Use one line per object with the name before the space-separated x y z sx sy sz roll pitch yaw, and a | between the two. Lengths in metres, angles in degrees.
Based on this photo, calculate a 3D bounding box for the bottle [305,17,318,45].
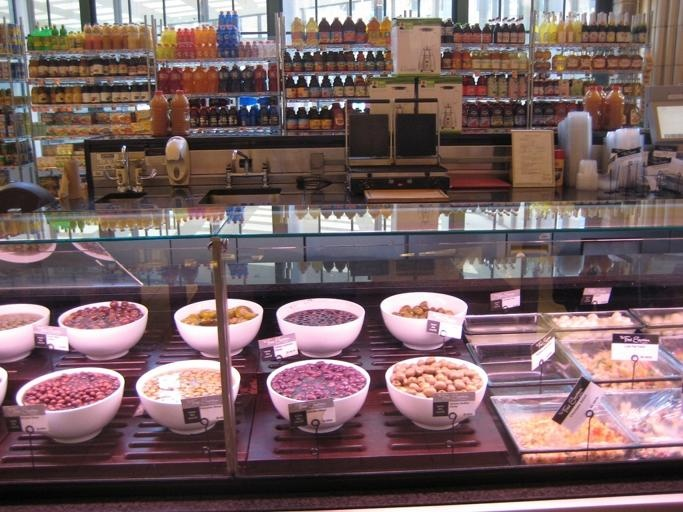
bottle | -0.307 -2.344 5.883 0.127 0.276 0.180 -3 20 -1

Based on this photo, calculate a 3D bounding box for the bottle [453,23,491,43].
bottle | 1.346 -2.320 5.869 0.415 0.152 0.057 0 3 -1

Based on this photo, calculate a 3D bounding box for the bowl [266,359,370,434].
bowl | -0.066 0.409 1.676 0.288 0.114 0.288 -1 17 0

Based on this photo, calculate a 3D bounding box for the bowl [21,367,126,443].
bowl | -0.765 0.433 1.666 0.331 0.126 0.331 4 -2 0

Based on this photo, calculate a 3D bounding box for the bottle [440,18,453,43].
bottle | 1.095 -2.343 5.863 0.123 0.243 0.179 1 20 10

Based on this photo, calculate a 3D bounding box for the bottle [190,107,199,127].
bottle | -1.554 -1.494 6.060 0.099 0.207 0.171 -6 20 -9

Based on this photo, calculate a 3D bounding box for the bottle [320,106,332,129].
bottle | -0.155 -1.418 5.779 0.132 0.222 0.170 -3 19 -1

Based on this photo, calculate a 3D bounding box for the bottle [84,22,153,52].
bottle | -2.395 -2.360 6.085 0.517 0.138 0.441 -3 13 -14

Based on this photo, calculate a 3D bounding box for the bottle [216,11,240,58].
bottle | -1.223 -2.419 6.134 0.247 0.500 0.403 -5 20 -8

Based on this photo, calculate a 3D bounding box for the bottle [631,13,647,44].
bottle | 3.130 -2.414 5.977 0.162 0.303 0.243 6 21 22

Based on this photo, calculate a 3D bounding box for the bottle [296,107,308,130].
bottle | -0.399 -1.428 5.834 0.125 0.217 0.214 -3 19 -3

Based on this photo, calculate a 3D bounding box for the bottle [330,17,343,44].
bottle | -0.047 -2.349 5.867 0.125 0.252 0.125 -2 20 1

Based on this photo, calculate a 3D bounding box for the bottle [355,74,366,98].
bottle | 0.198 -1.778 5.896 0.132 0.211 0.139 -2 20 1

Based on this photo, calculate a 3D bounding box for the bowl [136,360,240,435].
bowl | -0.439 0.390 1.623 0.263 0.088 0.245 0 11 0

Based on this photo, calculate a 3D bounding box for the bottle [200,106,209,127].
bottle | -1.458 -1.493 6.046 0.099 0.201 0.099 -2 20 1

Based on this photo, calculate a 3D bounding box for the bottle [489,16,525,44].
bottle | 1.755 -2.365 5.920 0.385 0.214 0.336 7 25 22

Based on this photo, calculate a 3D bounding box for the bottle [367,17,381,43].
bottle | 0.332 -2.362 5.895 0.129 0.259 0.147 -1 20 3

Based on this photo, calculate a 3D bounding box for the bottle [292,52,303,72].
bottle | -0.461 -2.060 5.950 0.112 0.211 0.210 -3 19 -3

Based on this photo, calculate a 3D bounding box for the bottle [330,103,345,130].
bottle | -0.041 -1.423 5.732 0.121 0.256 0.159 -4 20 -3

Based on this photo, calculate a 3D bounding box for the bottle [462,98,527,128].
bottle | 1.576 -1.480 5.901 0.825 0.268 0.347 -13 21 -33

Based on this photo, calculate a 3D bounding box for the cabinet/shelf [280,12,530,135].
cabinet/shelf | 0.607 -1.715 5.342 2.384 0.749 0.307 -1 6 -2

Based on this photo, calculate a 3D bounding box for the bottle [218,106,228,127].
bottle | -1.262 -1.496 6.055 0.114 0.200 0.143 -6 20 -9

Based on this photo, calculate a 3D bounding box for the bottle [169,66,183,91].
bottle | -1.761 -1.919 6.106 0.140 0.254 0.218 -3 19 -1

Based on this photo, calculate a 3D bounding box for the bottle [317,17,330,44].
bottle | -0.175 -2.339 5.846 0.135 0.247 0.089 -2 21 0

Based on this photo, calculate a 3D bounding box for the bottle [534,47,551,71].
bottle | 2.120 -2.099 6.005 0.174 0.237 0.249 3 19 15

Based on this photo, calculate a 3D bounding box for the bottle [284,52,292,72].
bottle | -0.550 -2.043 5.922 0.092 0.220 0.177 -2 19 1

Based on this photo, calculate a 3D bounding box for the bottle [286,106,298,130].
bottle | -0.509 -1.422 5.811 0.110 0.218 0.141 -4 20 -3

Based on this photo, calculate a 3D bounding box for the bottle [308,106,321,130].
bottle | -0.277 -1.422 5.798 0.134 0.224 0.172 -3 19 -2

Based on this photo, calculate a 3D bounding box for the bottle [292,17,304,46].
bottle | -0.449 -2.349 5.905 0.147 0.298 0.223 -3 20 -2

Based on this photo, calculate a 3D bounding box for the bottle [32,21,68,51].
bottle | -3.230 -2.441 6.310 0.475 0.277 0.238 6 21 22

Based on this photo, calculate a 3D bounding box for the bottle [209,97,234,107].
bottle | -1.352 -1.717 6.323 0.298 0.072 0.190 -1 14 -6

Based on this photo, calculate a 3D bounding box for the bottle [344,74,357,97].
bottle | 0.082 -1.780 5.891 0.114 0.217 0.143 -2 20 1

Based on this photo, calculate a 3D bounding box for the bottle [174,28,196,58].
bottle | -1.661 -2.282 6.053 0.222 0.308 0.144 -5 21 -9

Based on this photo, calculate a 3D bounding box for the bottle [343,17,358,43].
bottle | 0.083 -2.345 5.845 0.139 0.257 0.108 -7 21 -11

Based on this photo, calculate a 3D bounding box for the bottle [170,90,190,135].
bottle | -1.274 -1.128 4.465 0.154 0.326 0.292 -8 20 -14

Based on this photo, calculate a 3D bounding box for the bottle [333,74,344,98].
bottle | -0.033 -1.793 5.930 0.105 0.219 0.204 -2 19 0

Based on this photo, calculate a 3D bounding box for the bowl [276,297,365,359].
bowl | -0.069 0.222 1.876 0.261 0.088 0.220 -1 5 -2

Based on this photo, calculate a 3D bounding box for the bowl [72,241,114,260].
bowl | -0.810 -0.010 1.855 0.080 0.013 0.074 15 -11 3

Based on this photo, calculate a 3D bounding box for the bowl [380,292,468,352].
bowl | 0.270 0.204 1.912 0.264 0.095 0.222 0 10 -2

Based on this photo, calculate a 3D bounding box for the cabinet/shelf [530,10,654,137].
cabinet/shelf | 2.864 -2.046 6.139 0.646 1.327 1.651 -21 25 -18

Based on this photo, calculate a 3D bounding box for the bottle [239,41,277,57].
bottle | -0.888 -2.224 6.054 0.308 0.107 0.133 0 14 -1
